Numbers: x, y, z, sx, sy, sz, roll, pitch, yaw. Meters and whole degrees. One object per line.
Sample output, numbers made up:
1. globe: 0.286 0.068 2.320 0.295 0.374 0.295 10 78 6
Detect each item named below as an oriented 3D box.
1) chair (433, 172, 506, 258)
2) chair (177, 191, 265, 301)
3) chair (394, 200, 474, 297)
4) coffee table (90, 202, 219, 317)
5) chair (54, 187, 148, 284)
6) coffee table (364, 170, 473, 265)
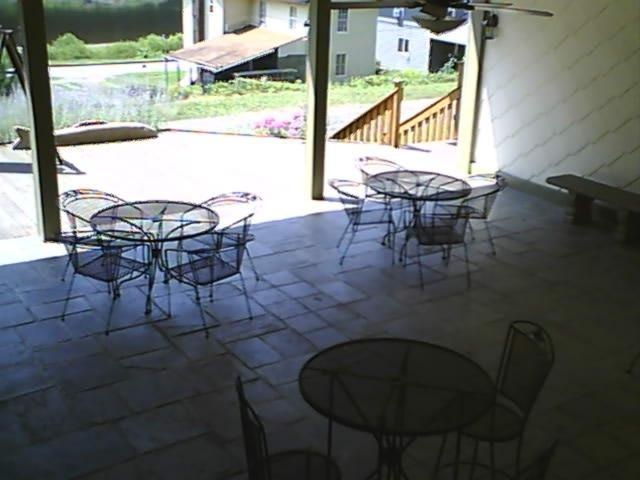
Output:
1. chair: 1.852 -0.270 6.815 0.870 0.985 0.886 -3 36 0
2. chair: -1.020 0.102 5.635 0.822 1.021 0.794 -14 40 -31
3. chair: 1.303 0.137 6.236 0.868 1.217 0.874 -4 41 -6
4. coffee table: -1.539 0.158 5.602 1.274 0.797 1.173 -9 36 -28
5. chair: -2.290 -0.009 5.648 0.842 0.962 0.809 12 30 6
6. coffee table: 1.235 -0.359 6.713 0.910 0.394 0.904 -24 38 -39
